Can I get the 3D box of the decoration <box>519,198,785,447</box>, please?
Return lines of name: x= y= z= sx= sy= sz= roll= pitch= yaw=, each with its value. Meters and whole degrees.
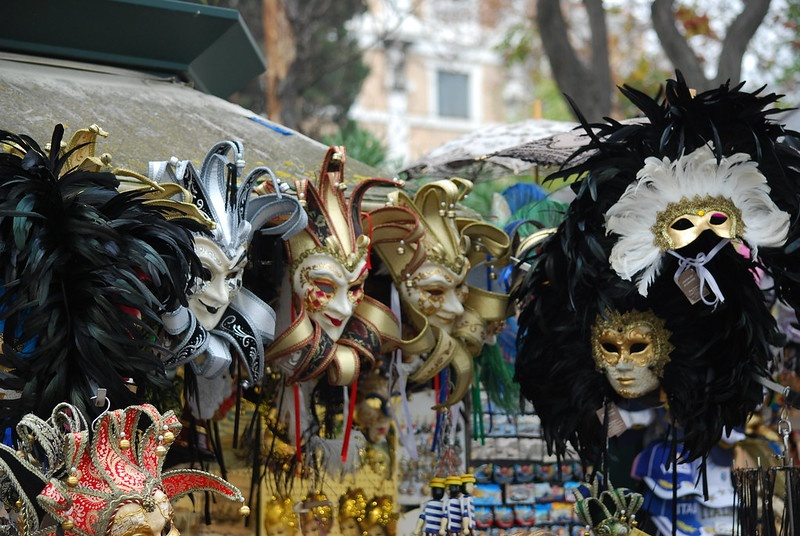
decoration: x=1.198 y=0.271 z=10.333 sx=1.329 sy=0.571 sz=1.272 roll=6 pitch=0 yaw=-13

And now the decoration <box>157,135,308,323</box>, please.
decoration: x=-0.811 y=-0.144 z=9.964 sx=0.808 sy=0.768 sz=0.402 roll=18 pitch=-22 yaw=-37
